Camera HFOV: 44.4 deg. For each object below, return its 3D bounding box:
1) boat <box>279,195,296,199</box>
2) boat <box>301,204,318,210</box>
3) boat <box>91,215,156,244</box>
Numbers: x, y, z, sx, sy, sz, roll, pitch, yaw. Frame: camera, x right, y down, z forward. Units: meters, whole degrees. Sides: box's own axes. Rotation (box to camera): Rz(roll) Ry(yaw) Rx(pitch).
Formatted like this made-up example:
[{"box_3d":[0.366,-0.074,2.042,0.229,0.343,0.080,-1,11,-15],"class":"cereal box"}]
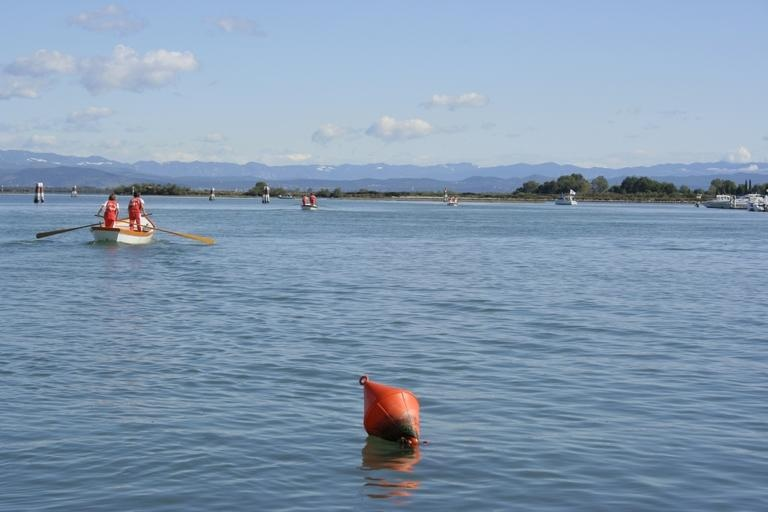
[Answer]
[{"box_3d":[-33.619,-20.350,324.763,3.473,1.308,4.692,-1,-4,45],"class":"boat"},{"box_3d":[-13.191,-8.556,165.383,2.520,1.095,4.428,-1,6,-7],"class":"boat"},{"box_3d":[-17.106,-1.577,62.122,2.864,1.789,5.697,1,6,10],"class":"boat"}]
